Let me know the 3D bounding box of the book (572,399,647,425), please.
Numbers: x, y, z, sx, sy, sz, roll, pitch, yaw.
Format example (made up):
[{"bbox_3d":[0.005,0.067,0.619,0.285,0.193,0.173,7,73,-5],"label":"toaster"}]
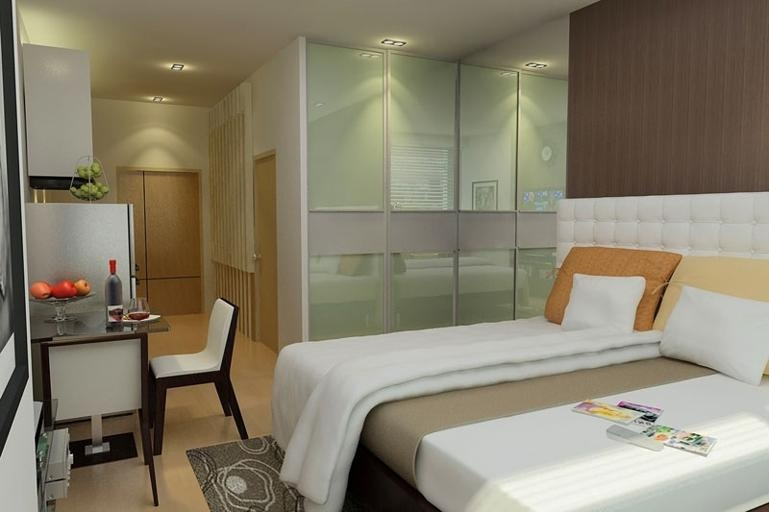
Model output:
[{"bbox_3d":[1.139,0.810,2.554,0.200,0.022,0.258,-8,8,-42],"label":"book"}]

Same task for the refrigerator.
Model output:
[{"bbox_3d":[-2.576,0.430,4.037,0.937,1.562,0.957,-7,-17,-26],"label":"refrigerator"}]

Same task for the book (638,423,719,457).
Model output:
[{"bbox_3d":[1.374,0.873,2.357,0.321,0.060,0.168,4,9,23],"label":"book"}]

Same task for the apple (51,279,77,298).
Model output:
[{"bbox_3d":[-2.225,0.240,3.484,0.152,0.118,0.171,-6,11,-34],"label":"apple"}]

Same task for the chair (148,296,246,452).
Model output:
[{"bbox_3d":[-1.408,0.843,4.100,0.960,1.369,0.866,2,2,-30],"label":"chair"}]

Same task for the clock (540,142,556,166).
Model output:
[{"bbox_3d":[1.549,-0.969,4.773,0.023,0.187,0.182,-4,10,-25],"label":"clock"}]

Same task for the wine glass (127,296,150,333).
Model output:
[{"bbox_3d":[-1.714,0.418,3.487,0.175,0.223,0.185,1,-18,-36],"label":"wine glass"}]

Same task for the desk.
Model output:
[{"bbox_3d":[-1.782,0.776,3.685,0.967,1.208,0.968,-4,7,-19],"label":"desk"}]
